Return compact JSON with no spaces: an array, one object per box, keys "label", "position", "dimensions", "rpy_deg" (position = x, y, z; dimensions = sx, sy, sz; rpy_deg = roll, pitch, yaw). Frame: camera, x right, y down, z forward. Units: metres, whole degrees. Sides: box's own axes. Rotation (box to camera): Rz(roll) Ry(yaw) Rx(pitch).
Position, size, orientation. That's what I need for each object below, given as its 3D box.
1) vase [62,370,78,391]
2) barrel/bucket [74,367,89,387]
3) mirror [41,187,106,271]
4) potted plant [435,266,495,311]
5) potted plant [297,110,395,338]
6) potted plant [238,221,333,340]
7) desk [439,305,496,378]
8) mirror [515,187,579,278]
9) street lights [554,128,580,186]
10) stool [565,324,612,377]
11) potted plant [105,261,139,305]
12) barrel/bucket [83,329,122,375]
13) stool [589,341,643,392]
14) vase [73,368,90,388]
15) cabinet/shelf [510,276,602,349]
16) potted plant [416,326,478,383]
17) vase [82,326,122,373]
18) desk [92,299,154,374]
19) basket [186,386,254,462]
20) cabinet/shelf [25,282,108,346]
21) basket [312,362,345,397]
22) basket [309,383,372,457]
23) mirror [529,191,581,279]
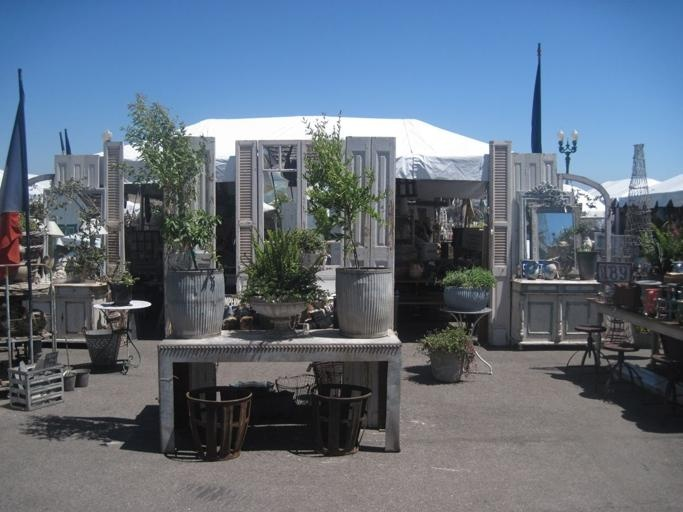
[{"label":"vase","position":[-3.634,1.680,9.753],"dimensions":[0.197,0.179,0.220],"rpy_deg":[0,-3,-3]},{"label":"barrel/bucket","position":[-3.562,1.664,9.933],"dimensions":[0.185,0.160,0.200],"rpy_deg":[0,-8,0]},{"label":"mirror","position":[-4.790,-0.570,13.228],"dimensions":[1.100,1.645,0.680],"rpy_deg":[4,5,36]},{"label":"potted plant","position":[1.976,0.495,11.094],"dimensions":[0.703,0.547,0.644],"rpy_deg":[0,2,41]},{"label":"potted plant","position":[0.179,-0.227,8.094],"dimensions":[1.184,2.207,0.928],"rpy_deg":[0,-1,-43]},{"label":"potted plant","position":[-0.664,0.294,8.368],"dimensions":[1.054,1.184,1.110],"rpy_deg":[1,-7,-7]},{"label":"desk","position":[2.146,1.160,11.747],"dimensions":[0.563,0.687,0.604],"rpy_deg":[16,13,34]},{"label":"mirror","position":[3.668,-0.387,12.708],"dimensions":[1.092,1.920,0.199],"rpy_deg":[1,-27,12]},{"label":"street lights","position":[5.127,-2.323,16.400],"dimensions":[0.418,1.052,0.175],"rpy_deg":[2,37,19]},{"label":"stool","position":[3.627,1.325,10.629],"dimensions":[0.460,0.586,0.548],"rpy_deg":[3,5,13]},{"label":"potted plant","position":[-3.263,0.442,10.750],"dimensions":[0.382,0.616,0.387],"rpy_deg":[6,-11,-35]},{"label":"barrel/bucket","position":[-3.730,1.377,11.025],"dimensions":[0.488,0.569,0.465],"rpy_deg":[-3,-9,0]},{"label":"stool","position":[3.727,1.476,9.652],"dimensions":[0.459,0.597,0.500],"rpy_deg":[-8,9,-41]},{"label":"vase","position":[-3.544,1.674,9.896],"dimensions":[0.190,0.161,0.207],"rpy_deg":[0,-6,3]},{"label":"cabinet/shelf","position":[3.692,0.986,12.492],"dimensions":[1.355,1.148,0.719],"rpy_deg":[0,4,1]},{"label":"potted plant","position":[1.527,1.379,10.360],"dimensions":[0.723,0.809,0.713],"rpy_deg":[0,-3,13]},{"label":"vase","position":[-3.648,1.411,11.022],"dimensions":[0.544,0.669,0.556],"rpy_deg":[0,1,-31]},{"label":"desk","position":[-3.304,1.245,11.101],"dimensions":[0.759,0.953,0.797],"rpy_deg":[-2,0,2]},{"label":"basket","position":[-1.314,1.781,7.800],"dimensions":[0.703,0.710,0.798],"rpy_deg":[3,5,4]},{"label":"cabinet/shelf","position":[-4.729,0.851,12.332],"dimensions":[1.021,1.100,0.701],"rpy_deg":[2,20,-13]},{"label":"basket","position":[-0.152,1.455,8.581],"dimensions":[0.339,0.383,0.360],"rpy_deg":[0,-3,3]},{"label":"basket","position":[0.105,1.747,8.015],"dimensions":[0.833,0.695,0.874],"rpy_deg":[9,-19,-6]},{"label":"mirror","position":[3.691,-0.319,12.618],"dimensions":[0.880,1.944,0.128],"rpy_deg":[-3,-32,17]}]
